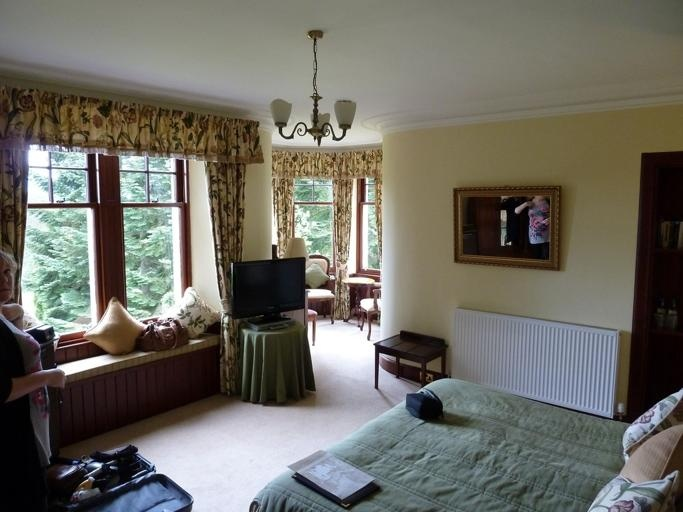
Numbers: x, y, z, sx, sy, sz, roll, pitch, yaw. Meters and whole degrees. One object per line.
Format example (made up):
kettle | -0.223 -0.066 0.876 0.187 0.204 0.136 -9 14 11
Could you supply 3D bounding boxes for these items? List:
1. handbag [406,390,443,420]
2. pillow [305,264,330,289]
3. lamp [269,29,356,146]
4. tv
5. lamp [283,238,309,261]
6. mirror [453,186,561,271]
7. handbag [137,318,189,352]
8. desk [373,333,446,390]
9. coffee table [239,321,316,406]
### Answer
handbag | 0.621 1.083 3.757 0.186 0.136 0.185 18 0 -17
pillow | -0.413 0.340 8.358 0.406 0.391 0.285 -5 14 -13
lamp | -0.242 -1.302 3.863 0.691 0.803 0.617 -4 9 -31
tv | -0.856 0.367 5.598 0.772 0.563 0.202 -1 1 -40
lamp | -0.633 -0.117 7.257 0.305 0.302 0.313 8 9 43
mirror | 1.763 -0.302 5.197 0.846 0.729 0.069 4 10 36
handbag | -1.887 0.723 5.234 0.254 0.314 0.473 -5 -3 44
desk | 0.755 1.026 5.668 0.786 0.708 0.588 3 5 42
coffee table | -0.767 1.144 5.616 0.812 0.773 0.827 -3 9 -13
